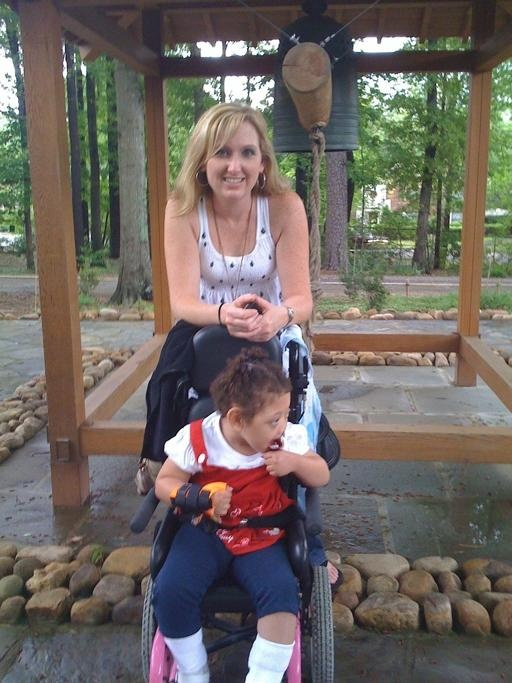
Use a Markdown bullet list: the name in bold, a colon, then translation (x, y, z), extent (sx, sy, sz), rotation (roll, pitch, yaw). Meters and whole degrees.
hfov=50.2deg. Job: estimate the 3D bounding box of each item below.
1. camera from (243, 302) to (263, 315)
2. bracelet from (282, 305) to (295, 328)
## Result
- **camera**: translation (-0.008, -0.092, 1.335), extent (0.010, 0.034, 0.036), rotation (-50, 9, -24)
- **bracelet**: translation (0.087, -0.073, 1.422), extent (0.019, 0.048, 0.040), rotation (1, 4, -33)
